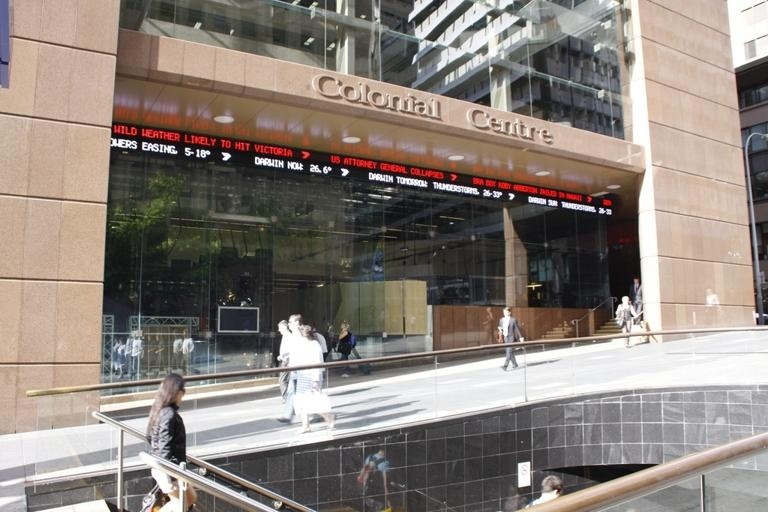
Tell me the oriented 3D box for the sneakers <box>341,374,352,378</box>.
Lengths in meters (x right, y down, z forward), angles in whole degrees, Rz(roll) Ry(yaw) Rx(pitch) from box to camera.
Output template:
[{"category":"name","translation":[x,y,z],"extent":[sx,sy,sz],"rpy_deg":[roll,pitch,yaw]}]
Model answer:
[{"category":"sneakers","translation":[-0.854,2.673,15.250],"extent":[0.183,0.084,0.043],"rpy_deg":[-1,-7,-2]}]

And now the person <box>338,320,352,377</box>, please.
[{"category":"person","translation":[-1.209,2.722,21.997],"extent":[0.535,1.198,0.408],"rpy_deg":[3,-8,-35]}]

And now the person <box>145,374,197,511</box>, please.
[{"category":"person","translation":[-3.559,3.116,11.432],"extent":[0.797,2.223,0.877],"rpy_deg":[1,-7,-19]}]

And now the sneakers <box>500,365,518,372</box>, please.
[{"category":"sneakers","translation":[3.128,2.794,17.001],"extent":[0.516,0.120,0.061],"rpy_deg":[3,-8,-33]}]

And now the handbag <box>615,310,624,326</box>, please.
[{"category":"handbag","translation":[9.028,2.371,25.988],"extent":[0.208,0.679,0.701],"rpy_deg":[1,-3,12]}]

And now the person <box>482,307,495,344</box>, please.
[{"category":"person","translation":[3.840,2.490,24.711],"extent":[0.564,1.305,0.285],"rpy_deg":[3,-8,-36]}]

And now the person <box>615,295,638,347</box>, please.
[{"category":"person","translation":[9.182,2.195,25.850],"extent":[0.676,1.386,1.307],"rpy_deg":[-4,-7,18]}]
